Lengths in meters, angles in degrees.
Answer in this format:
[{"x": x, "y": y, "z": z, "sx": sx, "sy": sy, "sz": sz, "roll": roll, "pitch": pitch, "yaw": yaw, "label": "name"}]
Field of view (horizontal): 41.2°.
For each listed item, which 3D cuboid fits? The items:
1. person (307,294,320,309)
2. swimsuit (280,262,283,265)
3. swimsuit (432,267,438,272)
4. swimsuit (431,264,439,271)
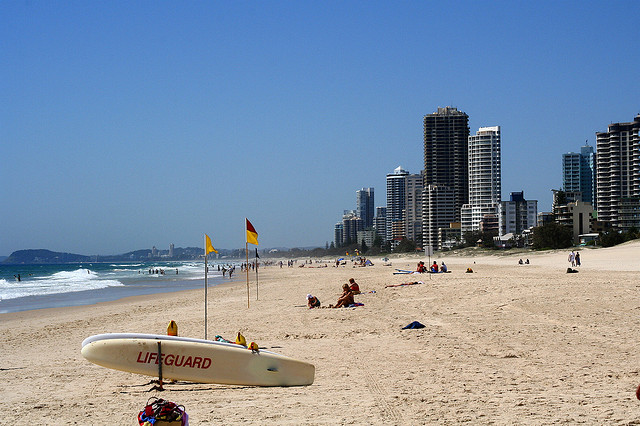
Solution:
[{"x": -0.415, "y": 4.574, "z": 44.389, "sx": 0.584, "sy": 0.527, "sz": 0.761, "roll": -7, "pitch": 9, "yaw": -30, "label": "person"}, {"x": -8.264, "y": 10.783, "z": 181.087, "sx": 0.711, "sy": 0.727, "sz": 0.640, "roll": 4, "pitch": -8, "yaw": -7, "label": "swimsuit"}, {"x": 8.945, "y": 4.335, "z": 65.870, "sx": 0.556, "sy": 0.296, "sz": 0.363, "roll": 7, "pitch": 7, "yaw": 27, "label": "swimsuit"}, {"x": 9.099, "y": 4.260, "z": 66.990, "sx": 0.703, "sy": 0.385, "sz": 0.967, "roll": 1, "pitch": 9, "yaw": 1, "label": "swimsuit"}]
